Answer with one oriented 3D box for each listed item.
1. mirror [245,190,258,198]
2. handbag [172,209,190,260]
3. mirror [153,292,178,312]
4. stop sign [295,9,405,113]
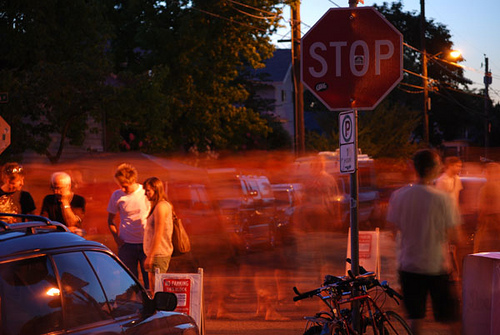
[{"bbox_3d":[0.039,0.644,16.511,0.349,0.103,0.237,4,10,-15],"label":"mirror"},{"bbox_3d":[-1.094,1.101,11.011,0.243,0.728,0.271,1,-1,1],"label":"handbag"},{"bbox_3d":[-1.014,1.605,8.207,0.261,0.254,0.038,2,10,3],"label":"mirror"},{"bbox_3d":[1.456,-1.533,9.904,1.447,1.459,0.331,6,9,3],"label":"stop sign"}]
